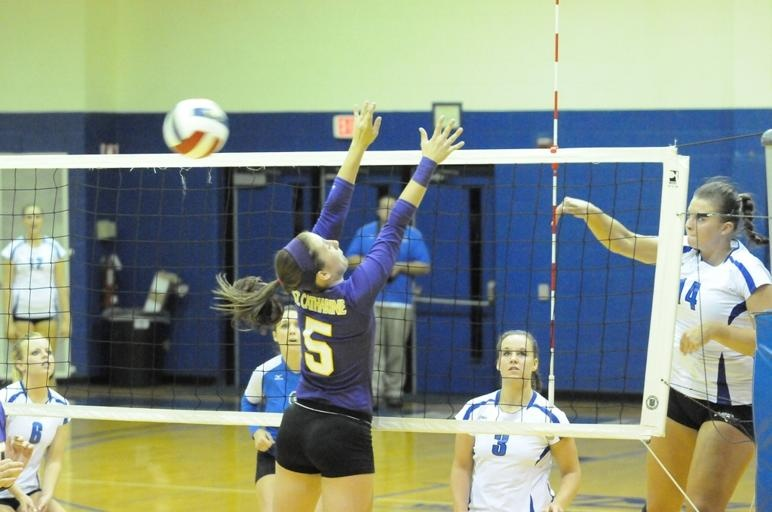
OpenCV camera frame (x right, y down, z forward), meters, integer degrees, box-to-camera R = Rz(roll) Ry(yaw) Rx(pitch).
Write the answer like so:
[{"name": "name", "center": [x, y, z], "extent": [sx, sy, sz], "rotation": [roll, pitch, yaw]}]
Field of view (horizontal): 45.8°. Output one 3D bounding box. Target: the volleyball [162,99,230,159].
[{"name": "volleyball", "center": [-1.444, -1.009, 7.109], "extent": [0.487, 0.449, 0.460], "rotation": [-9, 19, -44]}]
